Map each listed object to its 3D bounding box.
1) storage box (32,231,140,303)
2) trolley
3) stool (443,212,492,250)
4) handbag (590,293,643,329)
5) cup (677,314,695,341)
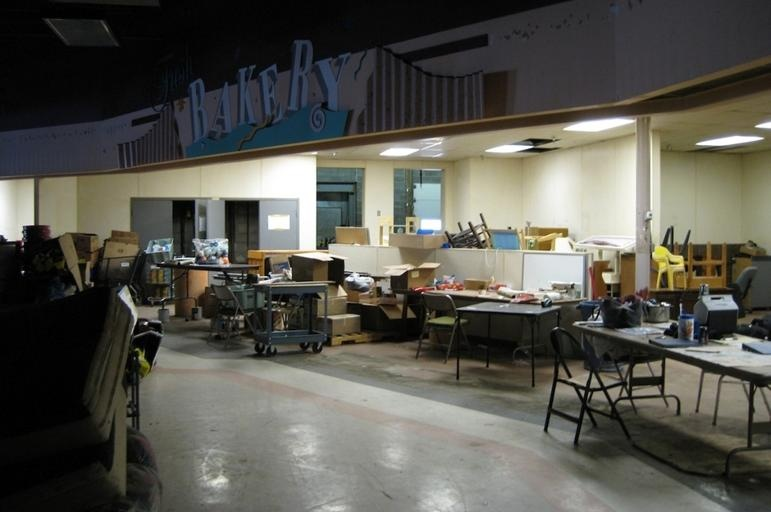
[{"bbox_3d":[-4.179,0.135,7.805,1.268,0.646,1.639,-4,-1,-45],"label":"storage box"},{"bbox_3d":[-1.476,0.954,8.619,1.080,0.997,0.681,4,-5,-39],"label":"trolley"},{"bbox_3d":[1.400,-0.387,9.783,0.787,0.442,1.249,1,7,6],"label":"stool"},{"bbox_3d":[2.377,0.573,5.732,0.435,0.317,0.308,0,-7,-2],"label":"handbag"},{"bbox_3d":[2.784,0.656,5.183,0.143,0.226,0.092,2,8,19],"label":"cup"}]
